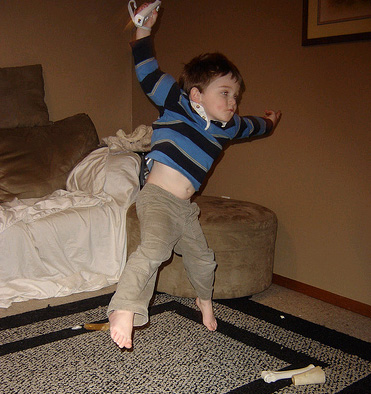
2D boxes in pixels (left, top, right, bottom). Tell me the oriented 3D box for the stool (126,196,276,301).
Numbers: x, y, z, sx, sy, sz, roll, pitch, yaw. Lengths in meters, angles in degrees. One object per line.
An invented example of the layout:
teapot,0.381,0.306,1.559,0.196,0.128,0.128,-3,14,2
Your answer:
stool,-0.005,0.259,1.997,0.830,0.387,0.790,3,2,-15
